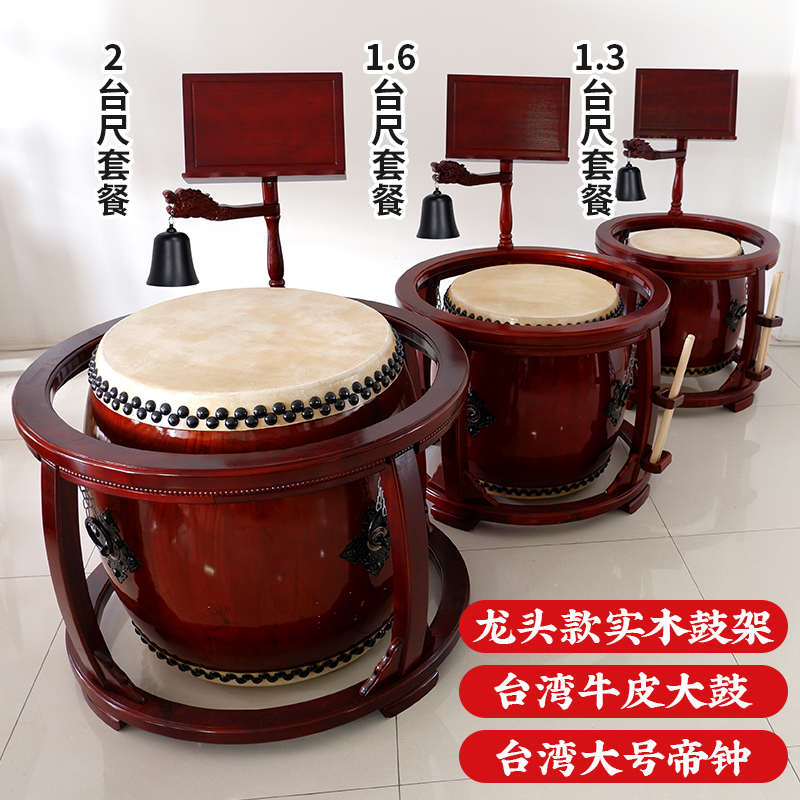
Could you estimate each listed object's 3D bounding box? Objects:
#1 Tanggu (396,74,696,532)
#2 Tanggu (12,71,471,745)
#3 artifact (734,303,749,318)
[{"bbox_3d":[0.411,-0.351,2.224,0.898,1.250,0.875,-17,32,-28],"label":"Tanggu"},{"bbox_3d":[-0.325,0.014,1.634,1.018,1.110,0.991,10,21,28],"label":"Tanggu"},{"bbox_3d":[1.383,-0.379,2.876,0.059,0.023,0.065,6,39,21],"label":"artifact"}]
